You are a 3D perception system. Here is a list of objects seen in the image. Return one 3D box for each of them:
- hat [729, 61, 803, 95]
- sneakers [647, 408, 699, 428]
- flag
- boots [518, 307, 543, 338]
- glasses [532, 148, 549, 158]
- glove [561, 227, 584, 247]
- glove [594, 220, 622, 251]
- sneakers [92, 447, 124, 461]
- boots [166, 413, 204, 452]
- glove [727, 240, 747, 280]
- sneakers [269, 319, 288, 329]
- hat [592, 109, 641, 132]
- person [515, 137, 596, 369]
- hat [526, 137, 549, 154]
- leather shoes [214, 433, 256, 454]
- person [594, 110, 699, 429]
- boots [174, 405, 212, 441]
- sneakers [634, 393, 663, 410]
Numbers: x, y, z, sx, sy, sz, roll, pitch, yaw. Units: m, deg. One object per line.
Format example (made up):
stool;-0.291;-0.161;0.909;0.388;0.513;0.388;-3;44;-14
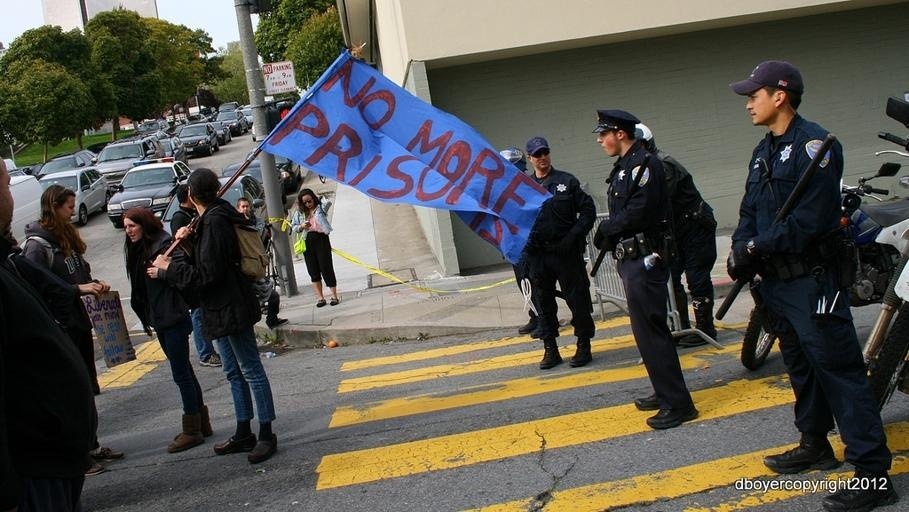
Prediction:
hat;3.162;-1.810;8.060;0.633;0.286;0.391;5;10;13
sneakers;2.404;1.804;8.909;0.596;0.251;0.197;-2;6;-7
flag;-0.606;-1.360;10.435;4.192;2.141;1.035;26;-14;-13
boots;1.170;1.062;12.011;0.527;0.416;0.224;2;-1;3
glasses;1.131;-1.377;10.502;0.233;0.125;0.129;-8;8;-11
glove;1.545;-0.243;10.309;0.361;0.305;0.236;-7;8;3
glove;1.748;-0.251;9.089;0.135;0.342;0.256;2;42;-27
sneakers;-4.164;2.401;9.549;0.368;0.124;0.145;0;-2;-6
boots;-3.272;2.147;9.581;0.245;0.365;0.546;-1;1;26
glove;2.864;0.049;8.054;0.121;0.312;0.249;13;-2;20
sneakers;-3.024;1.142;13.524;0.335;0.116;0.133;-10;11;-23
hat;1.854;-1.577;9.136;0.524;0.182;0.413;-1;13;8
person;1.428;-0.054;10.510;0.951;3.058;0.562;-7;8;7
hat;1.102;-1.483;10.615;0.278;0.158;0.351;-9;17;-2
leather shoes;-2.541;2.231;9.389;0.557;0.193;0.215;1;-3;-10
person;2.121;0.106;8.960;0.819;3.584;0.853;-9;8;-3
boots;-3.236;2.067;9.772;0.346;0.463;0.524;0;-1;4
sneakers;2.236;1.713;9.188;0.325;0.132;0.132;5;3;2
